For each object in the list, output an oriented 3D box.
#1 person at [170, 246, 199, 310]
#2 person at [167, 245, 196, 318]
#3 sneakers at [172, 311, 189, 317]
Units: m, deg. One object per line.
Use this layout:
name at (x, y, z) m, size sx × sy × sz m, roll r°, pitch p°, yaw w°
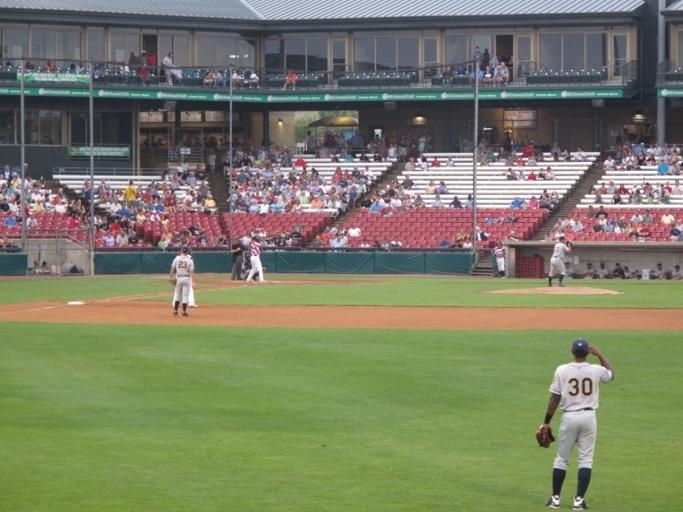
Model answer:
person at (-6.038, 1.025, 64.743) m, size 1.009 × 2.385 × 0.814 m, roll -3°, pitch 8°, yaw -30°
person at (-6.048, 0.968, 64.816) m, size 0.806 × 2.773 × 1.264 m, roll -1°, pitch 13°, yaw -5°
sneakers at (-6.120, 2.234, 64.948) m, size 0.596 × 0.246 × 0.215 m, roll 1°, pitch 2°, yaw -17°
